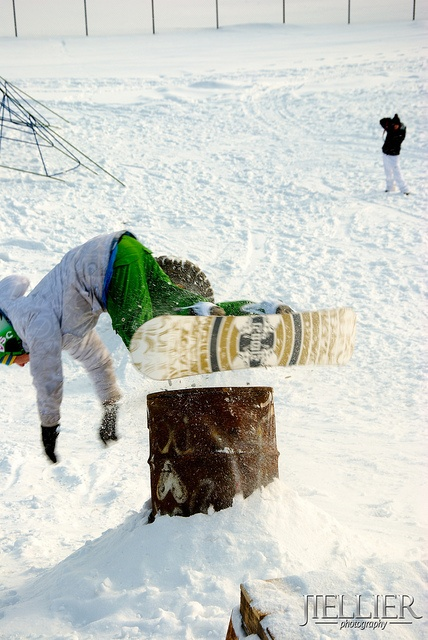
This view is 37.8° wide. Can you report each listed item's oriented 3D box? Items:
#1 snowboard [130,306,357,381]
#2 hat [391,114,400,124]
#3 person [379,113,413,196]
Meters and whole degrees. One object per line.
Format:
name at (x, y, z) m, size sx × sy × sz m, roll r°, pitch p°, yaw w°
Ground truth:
snowboard at (0.086, 0.069, 2.446) m, size 1.169 × 0.283 × 0.159 m, roll -3°, pitch 17°, yaw -14°
hat at (2.508, -2.748, 8.608) m, size 0.100 × 0.131 × 0.220 m, roll 0°, pitch 16°, yaw 13°
person at (2.650, -2.376, 9.149) m, size 0.406 × 1.163 × 1.277 m, roll 1°, pitch 16°, yaw 17°
